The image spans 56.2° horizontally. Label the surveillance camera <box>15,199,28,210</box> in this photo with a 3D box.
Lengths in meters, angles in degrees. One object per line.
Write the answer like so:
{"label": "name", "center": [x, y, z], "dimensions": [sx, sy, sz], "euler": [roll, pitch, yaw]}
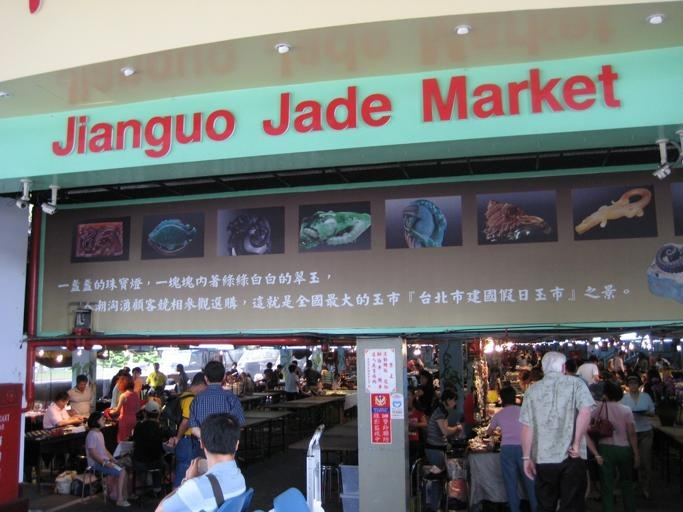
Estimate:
{"label": "surveillance camera", "center": [-4.373, -0.736, 8.761], "dimensions": [0.141, 0.106, 0.263], "euler": [2, -12, -19]}

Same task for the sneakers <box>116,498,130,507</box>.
{"label": "sneakers", "center": [-3.352, 3.795, 9.869], "dimensions": [0.170, 0.128, 0.225], "euler": [7, -14, -39]}

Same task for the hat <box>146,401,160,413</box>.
{"label": "hat", "center": [-3.037, 2.428, 10.289], "dimensions": [0.210, 0.181, 0.224], "euler": [0, -11, -11]}

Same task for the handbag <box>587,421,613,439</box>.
{"label": "handbag", "center": [3.478, 2.325, 8.567], "dimensions": [0.263, 0.272, 0.272], "euler": [-9, -10, 28]}

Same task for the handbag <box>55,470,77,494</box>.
{"label": "handbag", "center": [-4.506, 3.694, 10.430], "dimensions": [0.303, 0.142, 0.330], "euler": [-4, -5, 9]}
